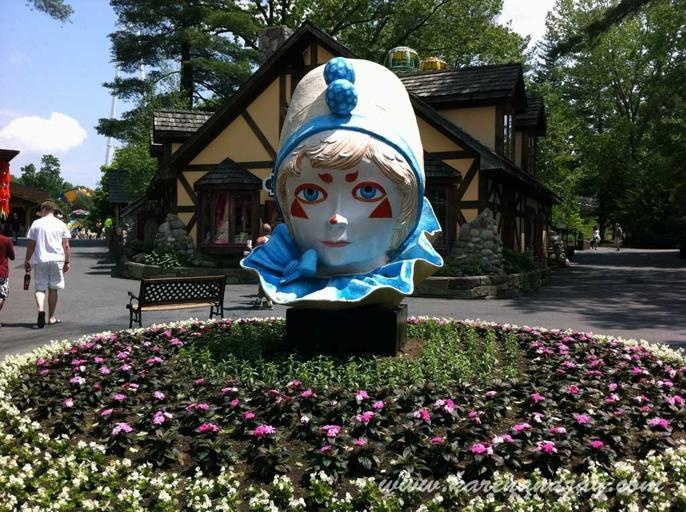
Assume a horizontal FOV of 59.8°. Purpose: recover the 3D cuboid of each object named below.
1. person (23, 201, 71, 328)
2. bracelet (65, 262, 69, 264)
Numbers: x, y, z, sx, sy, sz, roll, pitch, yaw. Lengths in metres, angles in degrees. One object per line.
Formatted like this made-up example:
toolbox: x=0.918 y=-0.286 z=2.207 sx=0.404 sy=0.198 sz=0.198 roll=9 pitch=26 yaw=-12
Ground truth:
person: x=-5.199 y=0.106 z=10.466 sx=0.653 sy=1.529 sz=0.867 roll=2 pitch=1 yaw=-32
bracelet: x=-5.001 y=0.102 z=10.764 sx=0.073 sy=0.025 sz=0.073 roll=-3 pitch=6 yaw=-29
